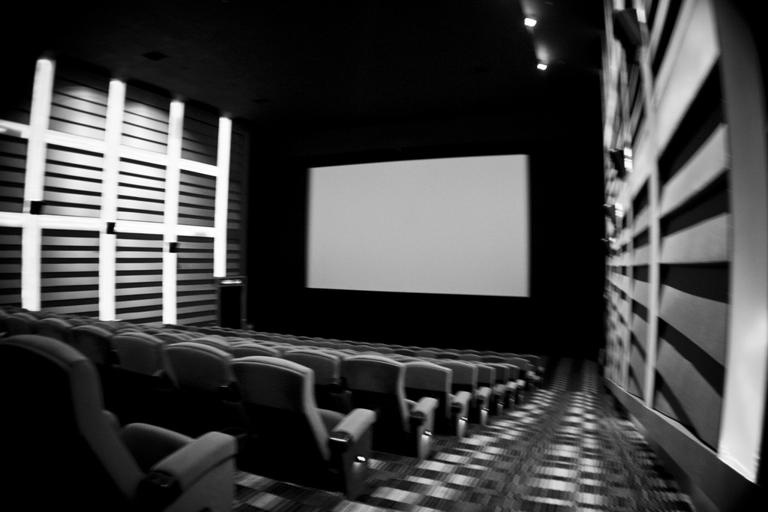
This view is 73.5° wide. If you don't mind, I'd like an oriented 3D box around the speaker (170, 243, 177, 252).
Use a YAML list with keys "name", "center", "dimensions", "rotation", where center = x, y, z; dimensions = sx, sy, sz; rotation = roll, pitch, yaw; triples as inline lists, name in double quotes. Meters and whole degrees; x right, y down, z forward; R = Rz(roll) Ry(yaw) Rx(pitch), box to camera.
- name: "speaker"
  center: [-3.909, -0.166, 9.521]
  dimensions: [0.084, 0.129, 0.175]
  rotation: [-1, 1, 18]

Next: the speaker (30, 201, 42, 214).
- name: "speaker"
  center: [-5.152, -0.719, 7.576]
  dimensions: [0.152, 0.183, 0.131]
  rotation: [-2, 1, -42]

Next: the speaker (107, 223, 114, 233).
- name: "speaker"
  center: [-4.562, -0.472, 8.532]
  dimensions: [0.125, 0.156, 0.099]
  rotation: [-2, 1, -29]
